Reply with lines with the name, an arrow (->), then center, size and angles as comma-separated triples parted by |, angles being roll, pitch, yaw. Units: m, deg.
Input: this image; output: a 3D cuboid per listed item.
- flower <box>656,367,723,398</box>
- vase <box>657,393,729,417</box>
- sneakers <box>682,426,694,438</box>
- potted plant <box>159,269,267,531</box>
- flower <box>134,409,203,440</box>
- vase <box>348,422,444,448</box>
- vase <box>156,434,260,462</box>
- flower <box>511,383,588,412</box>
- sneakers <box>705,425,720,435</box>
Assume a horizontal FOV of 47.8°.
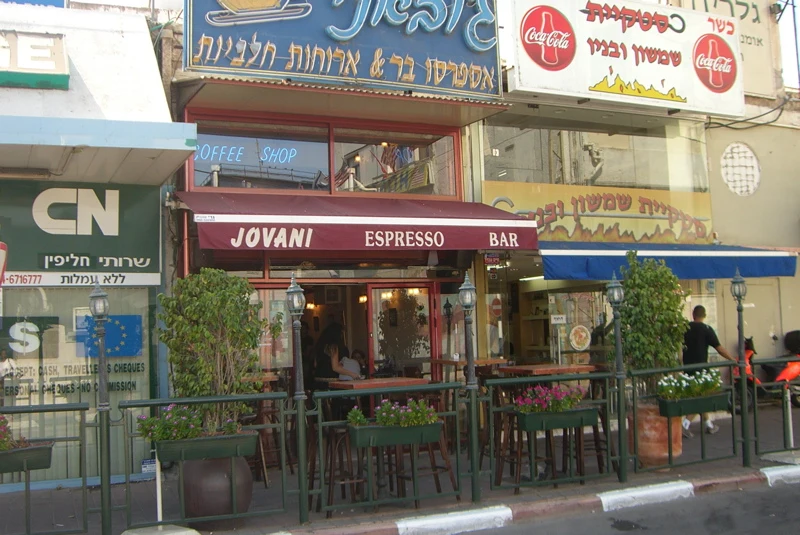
flower -> 4.513, 1.894, 14.519 | 0.681, 0.296, 0.542 | 0, -10, -24
vase -> 4.705, 2.194, 14.432 | 1.225, 0.310, 0.319 | -1, -9, -26
sneakers -> 5.428, 3.110, 17.046 | 0.130, 0.169, 0.395 | 0, -14, 4
potted plant -> -2.666, 1.741, 12.921 | 1.269, 3.470, 0.832 | 3, -10, -41
flower -> -3.182, 2.186, 12.589 | 0.551, 0.311, 0.573 | 3, -4, -16
vase -> -0.045, 2.395, 12.998 | 1.319, 0.341, 0.250 | -2, -8, -14
vase -> -2.671, 2.485, 12.514 | 1.341, 0.314, 0.282 | -2, -8, -17
flower -> 2.247, 1.973, 13.682 | 1.071, 0.411, 0.502 | -4, -8, -4
sneakers -> 5.996, 3.076, 17.294 | 0.129, 0.173, 0.392 | -1, 2, 38
